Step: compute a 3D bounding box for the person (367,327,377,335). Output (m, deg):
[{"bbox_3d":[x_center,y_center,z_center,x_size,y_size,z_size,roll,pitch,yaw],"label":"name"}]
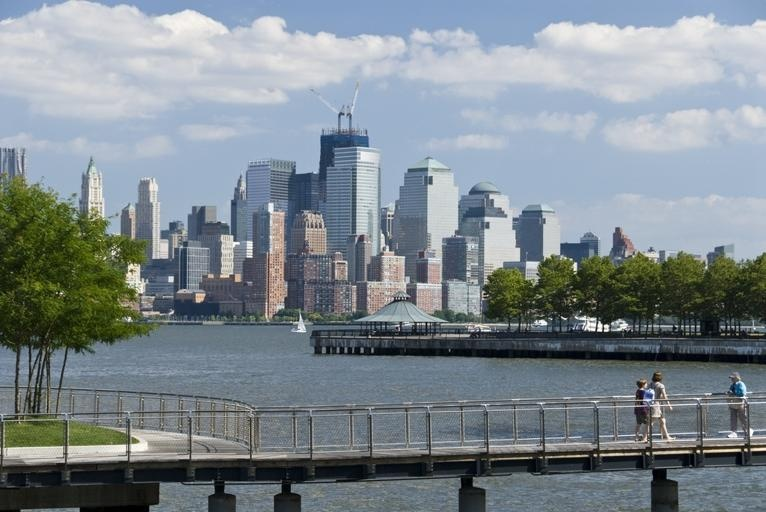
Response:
[{"bbox_3d":[-0.631,9.662,278.923,0.986,0.775,0.468,2,5,15],"label":"person"}]
